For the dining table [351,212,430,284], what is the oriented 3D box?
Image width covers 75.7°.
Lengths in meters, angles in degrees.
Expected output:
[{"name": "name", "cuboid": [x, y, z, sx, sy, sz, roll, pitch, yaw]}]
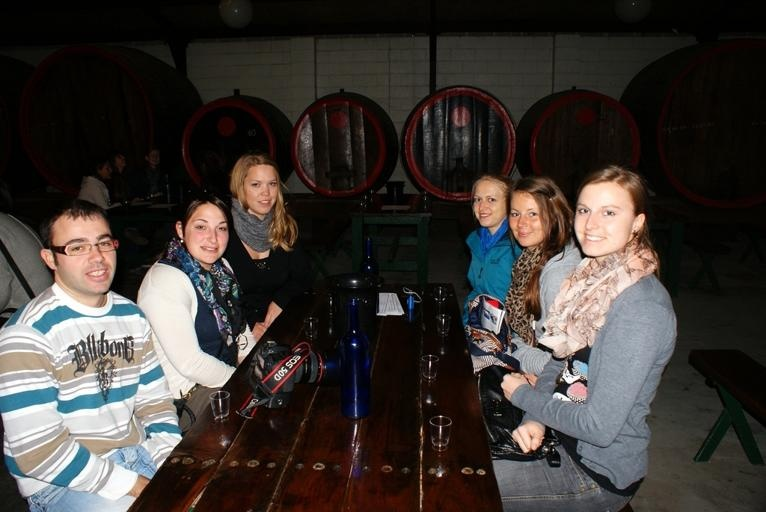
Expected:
[{"name": "dining table", "cuboid": [0.127, -0.171, 5.471, 1.020, 1.003, 1.029, 0, 4, 3]}]

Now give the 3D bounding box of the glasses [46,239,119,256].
[{"name": "glasses", "cuboid": [-1.368, -0.046, 2.264, 0.271, 0.068, 0.128, -11, 16, -36]}]

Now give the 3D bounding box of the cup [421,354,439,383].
[{"name": "cup", "cuboid": [0.224, 0.550, 2.402, 0.109, 0.122, 0.113, 0, -5, 0]}]

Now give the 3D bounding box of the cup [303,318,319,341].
[{"name": "cup", "cuboid": [-0.398, 0.427, 2.847, 0.111, 0.129, 0.113, -1, -2, 0]}]

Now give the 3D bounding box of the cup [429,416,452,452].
[{"name": "cup", "cuboid": [0.232, 0.721, 2.030, 0.114, 0.124, 0.114, 0, 4, 0]}]

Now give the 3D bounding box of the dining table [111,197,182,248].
[{"name": "dining table", "cuboid": [-2.741, -0.417, 5.618, 0.725, 0.183, 0.490, 23, 36, 36]}]

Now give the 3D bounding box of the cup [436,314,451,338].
[{"name": "cup", "cuboid": [0.349, 0.399, 2.898, 0.103, 0.120, 0.107, 0, -3, 0]}]

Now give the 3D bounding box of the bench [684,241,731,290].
[{"name": "bench", "cuboid": [4.054, 0.122, 6.140, 0.506, 0.591, 0.583, -4, 3, 21]}]

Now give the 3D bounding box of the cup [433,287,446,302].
[{"name": "cup", "cuboid": [0.377, 0.248, 3.258, 0.086, 0.097, 0.086, 3, 6, 0]}]

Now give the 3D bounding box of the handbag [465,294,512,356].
[{"name": "handbag", "cuboid": [0.628, 0.406, 2.932, 0.236, 0.320, 0.130, 13, -10, 29]}]

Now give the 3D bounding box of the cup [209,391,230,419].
[{"name": "cup", "cuboid": [-0.706, 0.646, 2.168, 0.111, 0.124, 0.112, -2, -8, 0]}]
